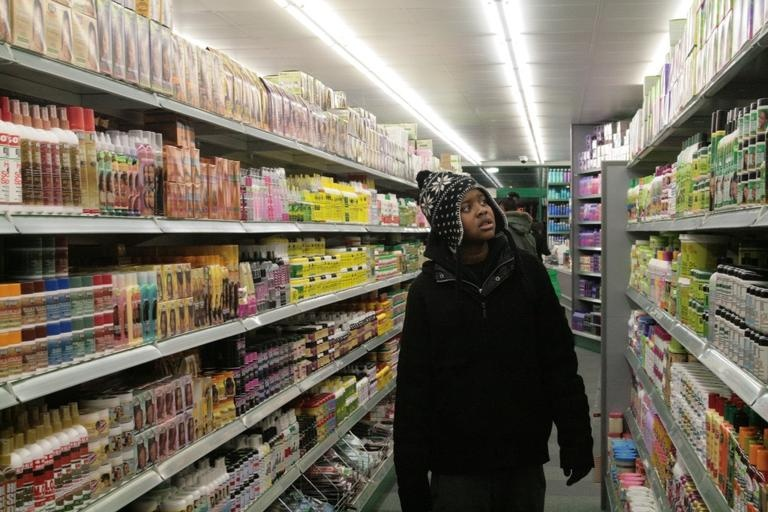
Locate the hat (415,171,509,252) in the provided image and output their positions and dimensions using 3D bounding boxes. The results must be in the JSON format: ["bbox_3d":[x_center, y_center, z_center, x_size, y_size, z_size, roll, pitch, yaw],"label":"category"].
[{"bbox_3d":[0.295,-0.228,2.350,0.366,0.337,0.282,-4,-2,32],"label":"hat"}]
